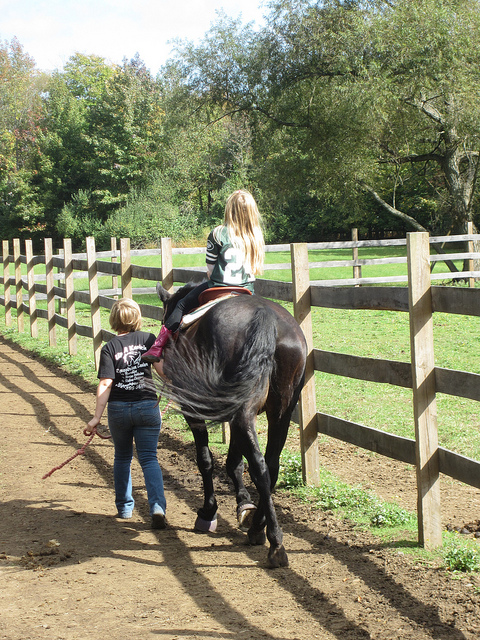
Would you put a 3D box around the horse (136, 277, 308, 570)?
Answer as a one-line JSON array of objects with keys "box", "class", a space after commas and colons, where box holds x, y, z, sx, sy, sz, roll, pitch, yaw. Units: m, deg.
[{"box": [-0.066, 0.535, 3.951, 0.877, 1.485, 1.004, 0, 6, -1], "class": "horse"}]
